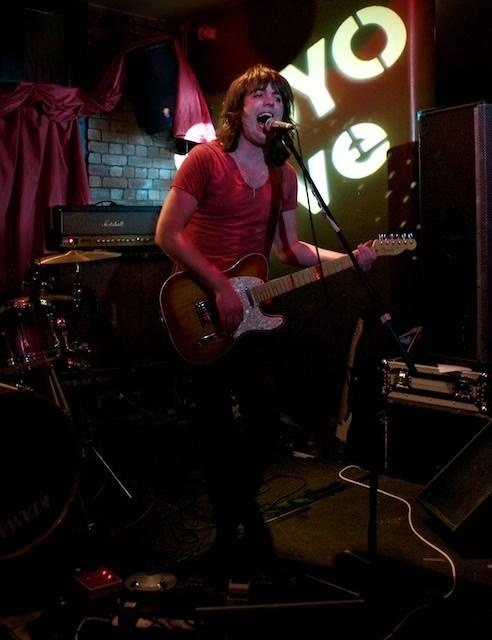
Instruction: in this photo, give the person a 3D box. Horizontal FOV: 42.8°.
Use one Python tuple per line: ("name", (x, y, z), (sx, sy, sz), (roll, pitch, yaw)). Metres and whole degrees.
("person", (0.038, -0.017, 2.087), (0.479, 1.641, 0.576), (4, 8, 25))
